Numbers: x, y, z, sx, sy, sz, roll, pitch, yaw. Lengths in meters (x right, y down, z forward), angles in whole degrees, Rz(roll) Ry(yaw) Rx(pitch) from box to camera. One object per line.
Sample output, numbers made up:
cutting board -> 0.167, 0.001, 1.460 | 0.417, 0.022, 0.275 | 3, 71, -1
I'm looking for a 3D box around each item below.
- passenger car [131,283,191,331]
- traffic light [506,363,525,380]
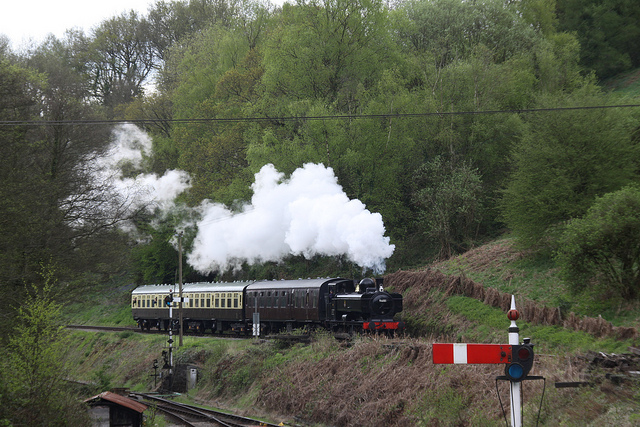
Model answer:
passenger car -> -12.916, 7.644, 54.437 | 4.177, 4.451, 7.384 | -2, -5, -22
traffic light -> 6.627, 5.314, 22.577 | 0.529, 0.572, 0.282 | -1, -2, 6
